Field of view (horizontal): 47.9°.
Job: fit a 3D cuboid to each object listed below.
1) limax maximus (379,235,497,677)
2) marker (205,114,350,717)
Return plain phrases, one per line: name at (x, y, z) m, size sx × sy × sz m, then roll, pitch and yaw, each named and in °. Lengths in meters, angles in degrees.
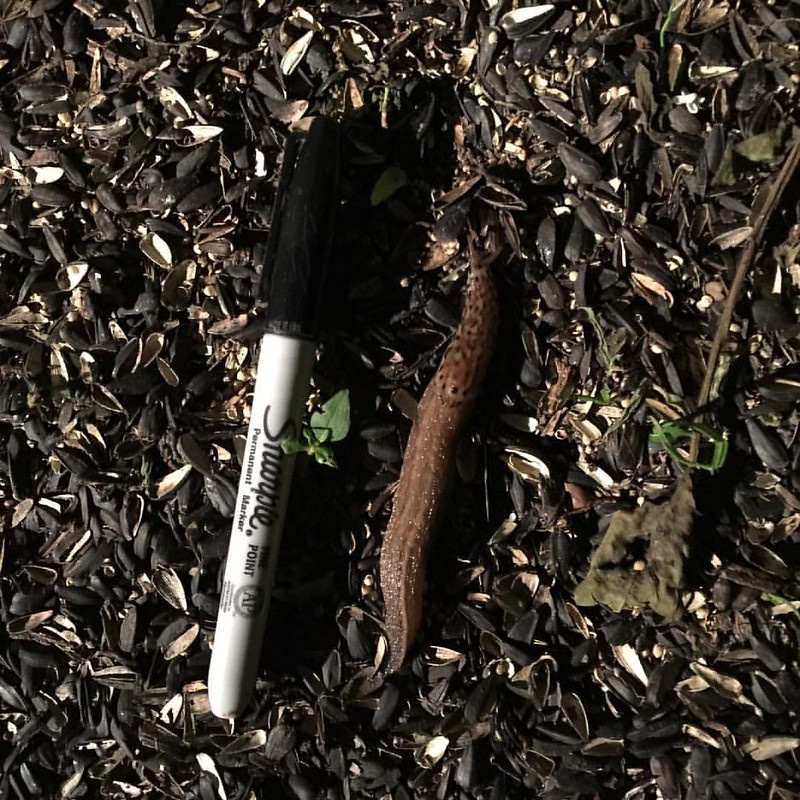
limax maximus at (0.029, 0.051, 0.765) m, size 0.068 × 0.384 × 0.075 m, roll 14°, pitch -2°, yaw -8°
marker at (-0.114, 0.026, 0.809) m, size 0.092 × 0.551 × 0.071 m, roll 15°, pitch 7°, yaw 20°
